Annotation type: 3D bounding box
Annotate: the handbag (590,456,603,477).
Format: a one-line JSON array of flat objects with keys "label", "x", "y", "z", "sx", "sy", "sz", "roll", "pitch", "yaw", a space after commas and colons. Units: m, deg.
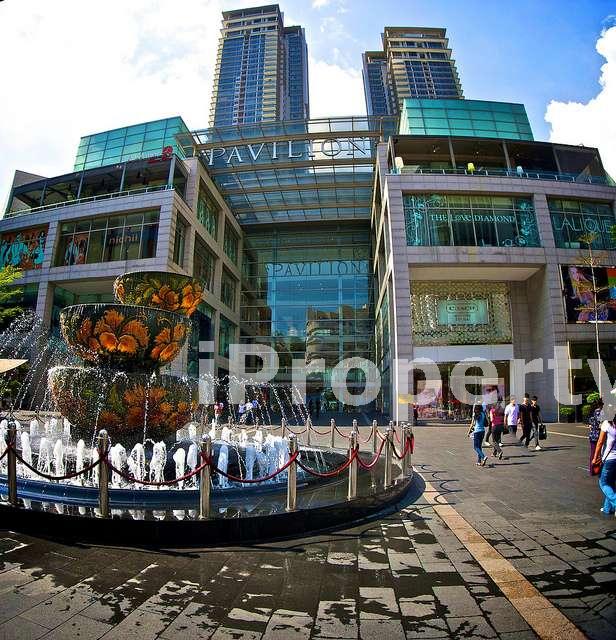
[{"label": "handbag", "x": 3.903, "y": 1.961, "z": 6.422, "sx": 0.093, "sy": 0.233, "sz": 0.246, "roll": 2, "pitch": -16, "yaw": 30}]
